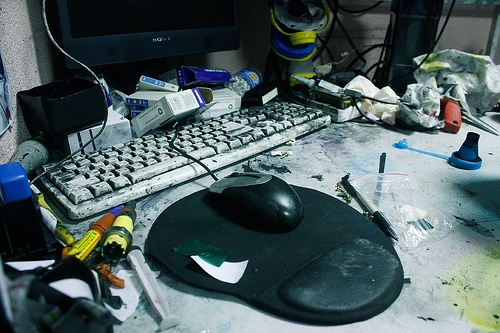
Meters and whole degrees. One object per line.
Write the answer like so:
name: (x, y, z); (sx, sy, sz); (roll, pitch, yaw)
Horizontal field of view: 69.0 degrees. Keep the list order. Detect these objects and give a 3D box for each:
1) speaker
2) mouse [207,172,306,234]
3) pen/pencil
speaker: (-0.405, -0.133, 0.800); (0.133, 0.083, 0.137); (27, 42, 34)
mouse: (0.014, 0.041, 0.696); (0.196, 0.059, 0.113); (23, 35, 34)
pen/pencil: (0.223, 0.072, 0.703); (0.029, 0.018, 0.187); (-10, 35, -15)
